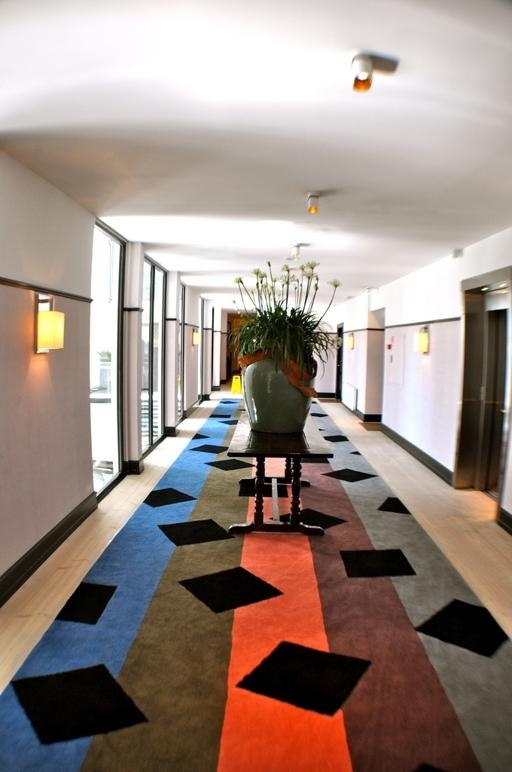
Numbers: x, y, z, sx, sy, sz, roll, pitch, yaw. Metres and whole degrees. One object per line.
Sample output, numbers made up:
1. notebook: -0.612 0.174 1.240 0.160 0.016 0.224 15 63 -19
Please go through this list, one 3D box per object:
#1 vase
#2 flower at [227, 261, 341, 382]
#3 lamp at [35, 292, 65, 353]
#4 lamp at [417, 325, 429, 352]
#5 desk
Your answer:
1. vase: 0.165 0.074 2.898 0.492 0.443 0.492 -1 -6 16
2. flower: 0.223 -0.415 2.710 0.442 0.544 0.406 4 7 -36
3. lamp: -1.272 -0.380 2.759 0.131 0.364 0.341 0 3 -13
4. lamp: 2.173 -0.594 5.769 0.112 0.369 0.290 1 3 5
5. desk: 0.197 0.716 3.861 0.663 0.648 1.961 2 1 4
